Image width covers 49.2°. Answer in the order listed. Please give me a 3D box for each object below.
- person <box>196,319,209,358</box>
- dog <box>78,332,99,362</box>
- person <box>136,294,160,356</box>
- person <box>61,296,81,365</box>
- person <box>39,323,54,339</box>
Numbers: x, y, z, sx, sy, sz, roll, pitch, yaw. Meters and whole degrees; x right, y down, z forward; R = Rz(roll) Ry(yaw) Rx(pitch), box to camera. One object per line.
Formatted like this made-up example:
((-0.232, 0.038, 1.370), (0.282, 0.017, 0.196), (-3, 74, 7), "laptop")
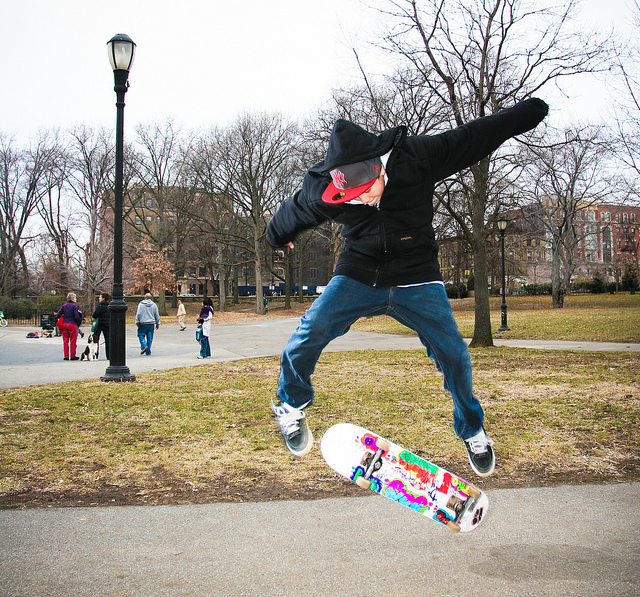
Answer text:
((-2.508, 0.875, 14.966), (0.249, 0.867, 0.652), (-2, 7, -9), "person")
((-5.332, 1.123, 16.099), (0.262, 0.485, 0.620), (8, -33, -41), "dog")
((-4.024, 0.623, 16.317), (0.499, 1.408, 1.382), (-2, 7, -15), "person")
((-5.511, 0.611, 15.428), (0.401, 1.470, 0.406), (3, 5, 2), "person")
((-9.822, 1.159, 25.195), (0.338, 0.646, 1.177), (5, -2, -18), "person")
